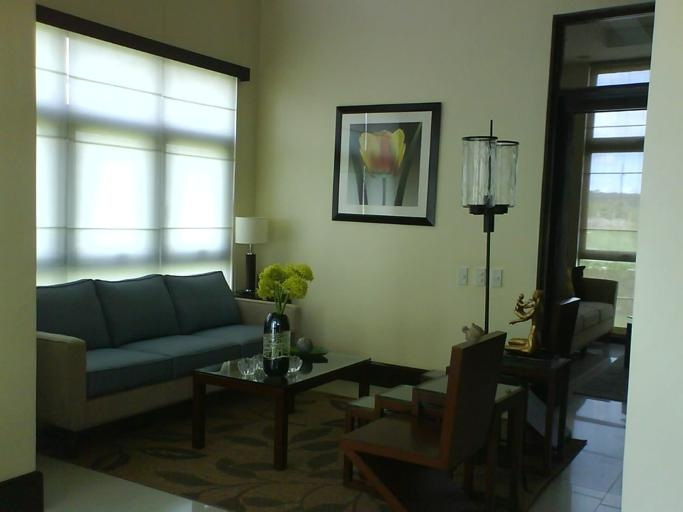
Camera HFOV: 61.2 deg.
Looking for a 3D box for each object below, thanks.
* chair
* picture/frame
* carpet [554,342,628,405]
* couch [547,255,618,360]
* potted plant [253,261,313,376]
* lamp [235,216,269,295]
[{"bbox_3d":[0.800,0.675,3.692,1.076,0.850,1.675,0,3,34],"label":"chair"},{"bbox_3d":[0.437,-0.835,5.156,1.038,1.180,0.043,3,2,31],"label":"picture/frame"},{"bbox_3d":[1.922,0.882,4.337,0.350,0.147,0.573,1,11,15],"label":"carpet"},{"bbox_3d":[1.843,0.400,4.376,0.335,0.633,0.670,5,10,42],"label":"couch"},{"bbox_3d":[-0.457,0.413,3.960,0.362,0.765,0.323,9,0,-36],"label":"potted plant"},{"bbox_3d":[-0.885,-0.008,5.625,0.312,0.749,0.316,0,3,-20],"label":"lamp"}]
